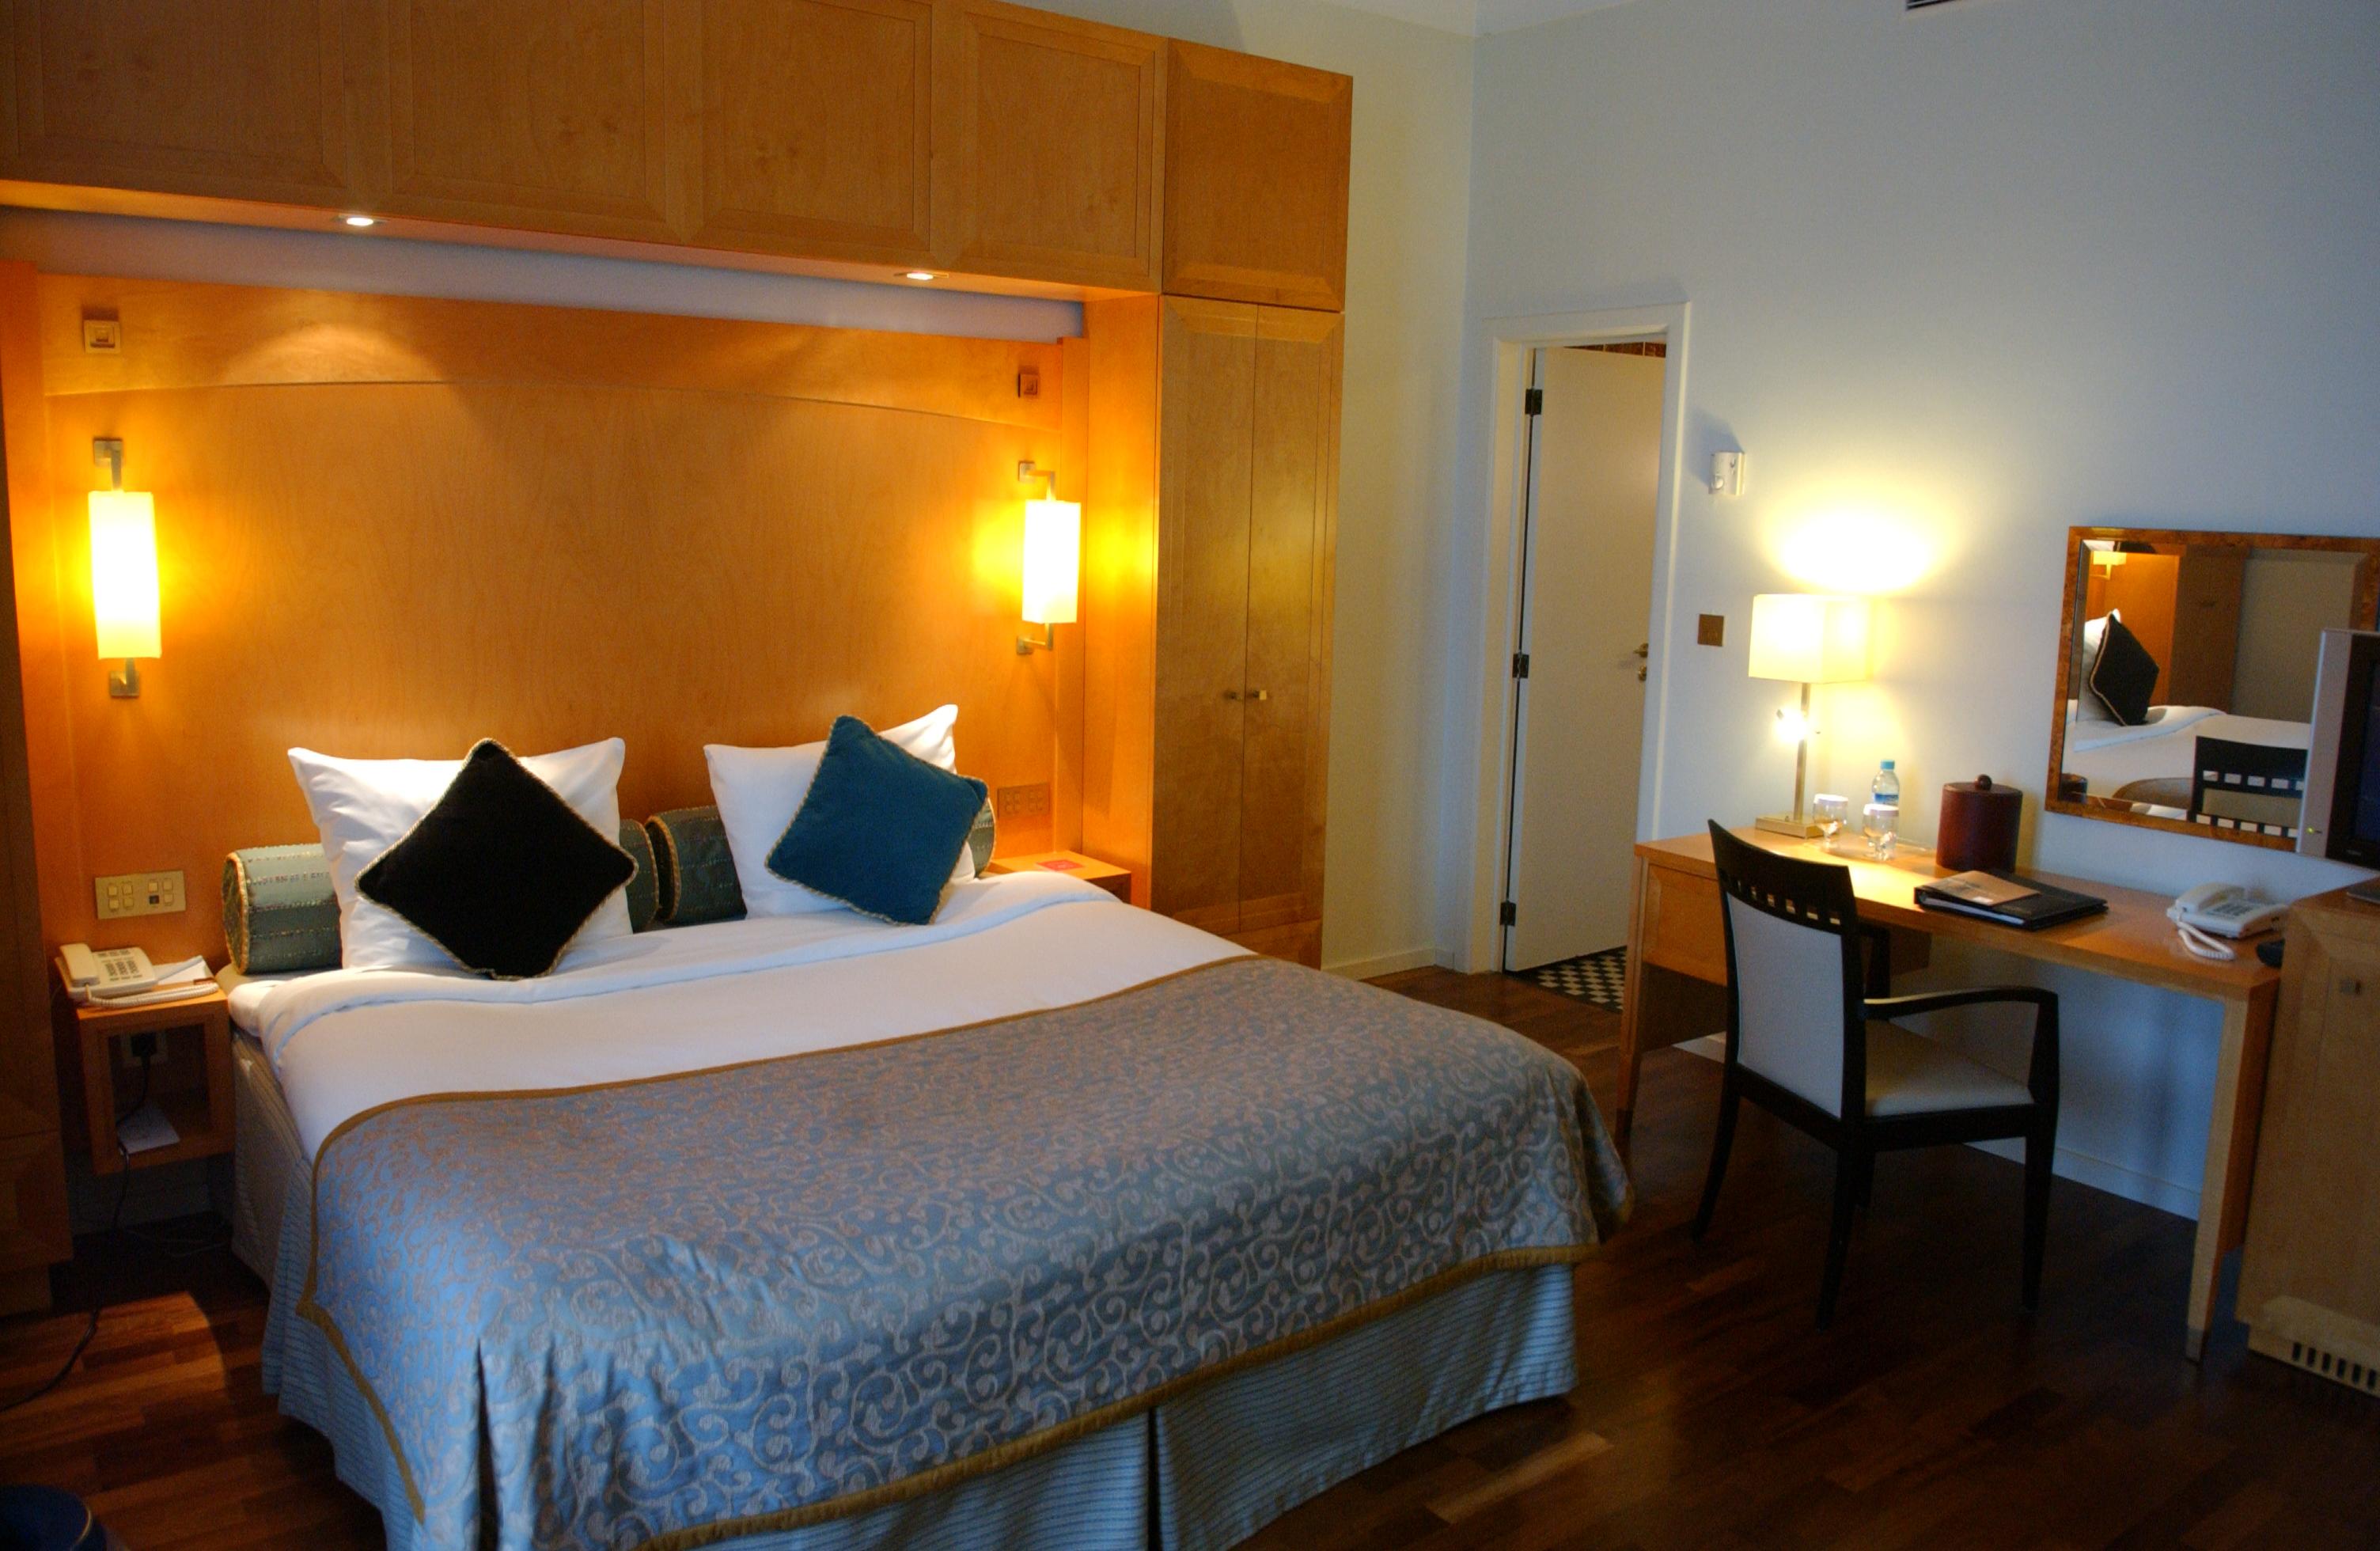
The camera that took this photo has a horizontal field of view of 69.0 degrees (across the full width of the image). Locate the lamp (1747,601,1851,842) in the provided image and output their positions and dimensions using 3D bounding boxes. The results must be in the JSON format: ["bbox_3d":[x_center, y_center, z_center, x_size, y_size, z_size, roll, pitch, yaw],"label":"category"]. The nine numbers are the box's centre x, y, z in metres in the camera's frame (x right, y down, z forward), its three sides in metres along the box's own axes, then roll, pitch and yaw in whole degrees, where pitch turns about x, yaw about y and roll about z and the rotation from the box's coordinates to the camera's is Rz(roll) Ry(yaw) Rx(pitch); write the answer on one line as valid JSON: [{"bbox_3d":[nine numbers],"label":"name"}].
[{"bbox_3d":[2.143,-0.241,6.140,0.306,0.806,0.427,1,11,19],"label":"lamp"}]

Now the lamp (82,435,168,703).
[{"bbox_3d":[-3.081,-0.589,4.995,0.185,0.754,0.158,-9,12,-31],"label":"lamp"}]

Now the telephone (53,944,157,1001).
[{"bbox_3d":[-3.107,0.558,4.941,0.181,0.046,0.194,-4,25,-29],"label":"telephone"}]

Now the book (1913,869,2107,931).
[{"bbox_3d":[2.442,0.378,5.240,0.281,0.057,0.261,-9,13,-38],"label":"book"}]

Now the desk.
[{"bbox_3d":[2.369,0.979,5.283,0.540,0.788,1.369,-3,11,-32],"label":"desk"}]

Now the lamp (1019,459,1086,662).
[{"bbox_3d":[-0.503,-0.790,6.273,0.248,0.684,0.228,-4,11,-11],"label":"lamp"}]
